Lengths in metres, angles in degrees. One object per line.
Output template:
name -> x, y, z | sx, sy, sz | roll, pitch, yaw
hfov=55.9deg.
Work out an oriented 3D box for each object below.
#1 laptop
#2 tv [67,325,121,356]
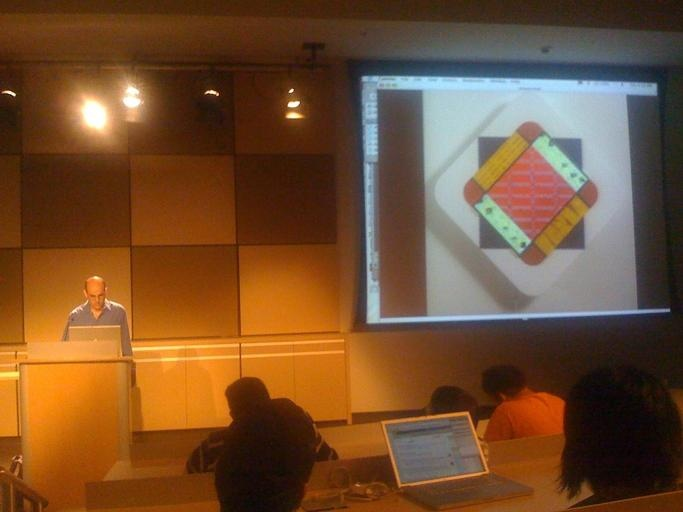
laptop -> 0.519, 1.070, 3.363 | 0.543, 0.508, 0.313 | 1, -18, -17
tv -> -1.765, 0.575, 4.575 | 0.317, 0.237, 0.216 | 1, 5, -2
